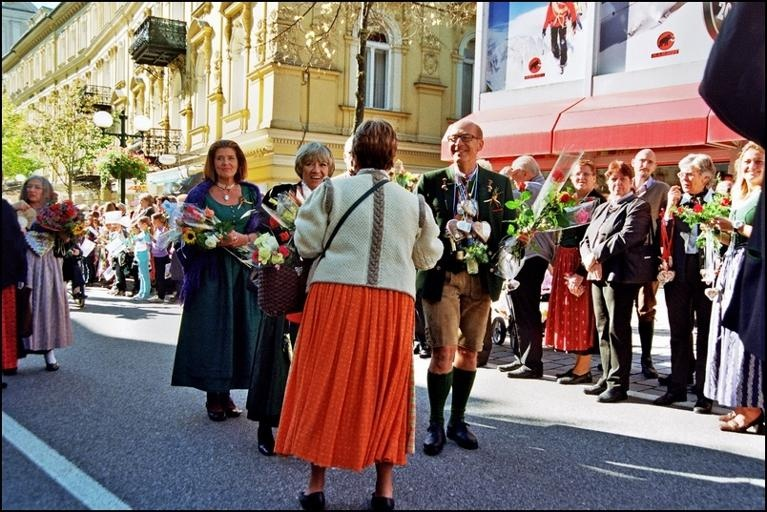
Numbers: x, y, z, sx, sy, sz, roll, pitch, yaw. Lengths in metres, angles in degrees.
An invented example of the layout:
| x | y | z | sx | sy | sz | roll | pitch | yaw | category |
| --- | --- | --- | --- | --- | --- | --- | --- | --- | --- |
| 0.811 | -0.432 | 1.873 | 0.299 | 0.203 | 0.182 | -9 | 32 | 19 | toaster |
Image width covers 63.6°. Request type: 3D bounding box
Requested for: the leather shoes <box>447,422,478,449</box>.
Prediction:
| x | y | z | sx | sy | sz | roll | pitch | yaw | category |
| --- | --- | --- | --- | --- | --- | --- | --- | --- | --- |
| 0.709 | 1.582 | 5.454 | 0.129 | 0.147 | 0.347 | -1 | -4 | -26 | leather shoes |

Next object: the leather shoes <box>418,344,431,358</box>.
| x | y | z | sx | sy | sz | roll | pitch | yaw | category |
| --- | --- | --- | --- | --- | --- | --- | --- | --- | --- |
| 0.570 | 1.287 | 8.445 | 0.199 | 0.289 | 0.587 | 1 | -9 | 2 | leather shoes |

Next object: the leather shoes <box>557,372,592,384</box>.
| x | y | z | sx | sy | sz | roll | pitch | yaw | category |
| --- | --- | --- | --- | --- | --- | --- | --- | --- | --- |
| 2.257 | 1.449 | 7.341 | 0.305 | 0.114 | 0.169 | 4 | -7 | -3 | leather shoes |

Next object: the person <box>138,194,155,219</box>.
| x | y | z | sx | sy | sz | roll | pitch | yaw | category |
| --- | --- | --- | --- | --- | --- | --- | --- | --- | --- |
| -5.355 | -1.168 | 13.985 | 0.332 | 0.497 | 1.100 | -2 | 6 | -21 | person |

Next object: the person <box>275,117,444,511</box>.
| x | y | z | sx | sy | sz | roll | pitch | yaw | category |
| --- | --- | --- | --- | --- | --- | --- | --- | --- | --- |
| -0.184 | 0.424 | 4.380 | 1.157 | 2.099 | 0.481 | -1 | 6 | -11 | person |

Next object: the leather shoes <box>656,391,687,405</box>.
| x | y | z | sx | sy | sz | roll | pitch | yaw | category |
| --- | --- | --- | --- | --- | --- | --- | --- | --- | --- |
| 3.055 | 1.516 | 6.627 | 0.398 | 0.160 | 0.135 | 2 | -6 | -6 | leather shoes |

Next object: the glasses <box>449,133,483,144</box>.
| x | y | z | sx | sy | sz | roll | pitch | yaw | category |
| --- | --- | --- | --- | --- | --- | --- | --- | --- | --- |
| 0.721 | -1.033 | 5.434 | 0.293 | 0.104 | 0.193 | 0 | 6 | 5 | glasses |

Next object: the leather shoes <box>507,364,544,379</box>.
| x | y | z | sx | sy | sz | roll | pitch | yaw | category |
| --- | --- | --- | --- | --- | --- | --- | --- | --- | --- |
| 1.699 | 1.406 | 7.595 | 0.499 | 0.199 | 0.168 | 5 | -9 | 4 | leather shoes |

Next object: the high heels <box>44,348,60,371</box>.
| x | y | z | sx | sy | sz | roll | pitch | yaw | category |
| --- | --- | --- | --- | --- | --- | --- | --- | --- | --- |
| -4.140 | 1.281 | 7.718 | 0.139 | 0.175 | 0.409 | 0 | 1 | -28 | high heels |

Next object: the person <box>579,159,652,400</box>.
| x | y | z | sx | sy | sz | roll | pitch | yaw | category |
| --- | --- | --- | --- | --- | --- | --- | --- | --- | --- |
| 2.489 | 0.264 | 6.647 | 0.706 | 2.564 | 0.531 | 3 | 7 | 31 | person |

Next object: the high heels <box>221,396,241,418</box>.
| x | y | z | sx | sy | sz | roll | pitch | yaw | category |
| --- | --- | --- | --- | --- | --- | --- | --- | --- | --- |
| -1.511 | 1.486 | 6.131 | 0.099 | 0.127 | 0.295 | -2 | 6 | -25 | high heels |

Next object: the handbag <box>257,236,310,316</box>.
| x | y | z | sx | sy | sz | roll | pitch | yaw | category |
| --- | --- | --- | --- | --- | --- | --- | --- | --- | --- |
| -0.735 | 0.227 | 4.571 | 0.489 | 0.486 | 0.294 | -4 | 7 | -44 | handbag |

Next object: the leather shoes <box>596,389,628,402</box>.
| x | y | z | sx | sy | sz | roll | pitch | yaw | category |
| --- | --- | --- | --- | --- | --- | --- | --- | --- | --- |
| 2.459 | 1.496 | 6.675 | 0.321 | 0.135 | 0.131 | 2 | -3 | -8 | leather shoes |

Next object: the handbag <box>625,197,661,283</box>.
| x | y | z | sx | sy | sz | roll | pitch | yaw | category |
| --- | --- | --- | --- | --- | --- | --- | --- | --- | --- |
| 2.751 | -0.177 | 6.614 | 0.396 | 0.922 | 0.294 | -4 | -10 | 18 | handbag |
